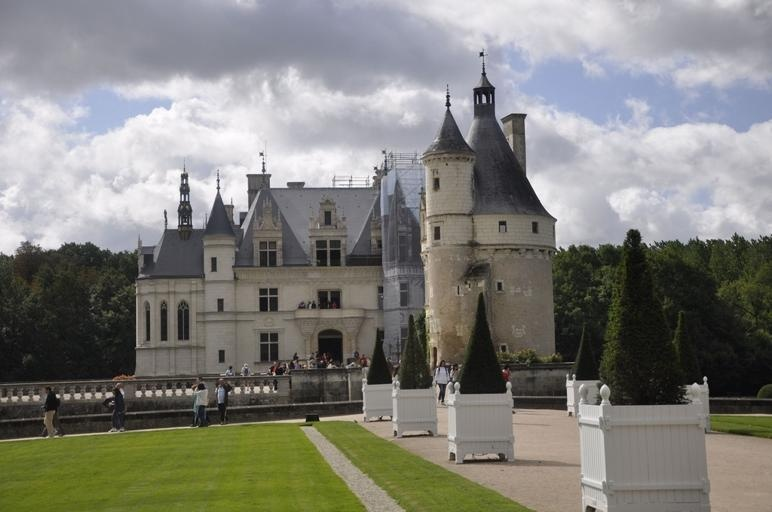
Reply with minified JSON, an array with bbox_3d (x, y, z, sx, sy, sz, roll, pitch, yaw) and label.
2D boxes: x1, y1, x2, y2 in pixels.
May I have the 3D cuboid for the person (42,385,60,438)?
[{"bbox_3d":[-12.313,5.785,47.042,0.531,1.855,1.429,1,-9,-15],"label":"person"}]
